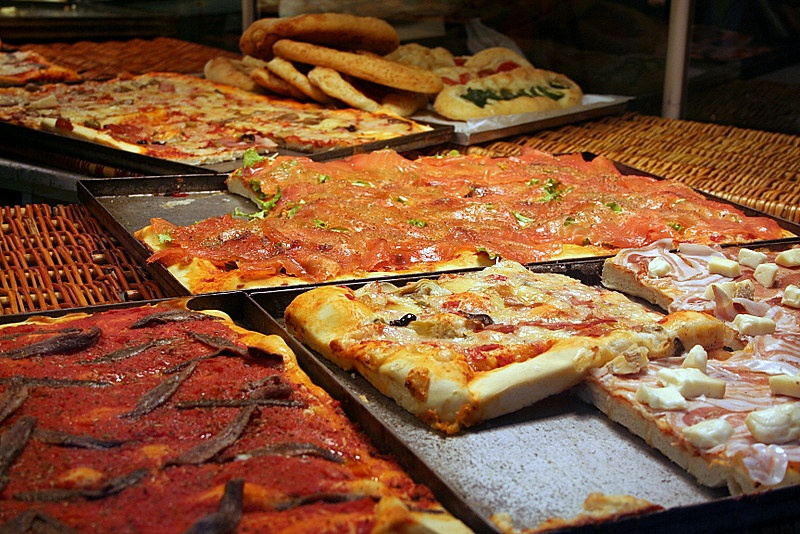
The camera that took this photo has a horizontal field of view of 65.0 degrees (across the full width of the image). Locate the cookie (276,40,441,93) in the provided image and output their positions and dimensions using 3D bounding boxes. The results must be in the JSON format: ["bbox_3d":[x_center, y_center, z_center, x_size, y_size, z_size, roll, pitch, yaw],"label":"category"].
[{"bbox_3d":[-0.263,-1.211,3.927,0.896,0.075,0.452,8,4,8],"label":"cookie"}]

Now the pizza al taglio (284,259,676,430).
[{"bbox_3d":[0.140,0.168,1.640,0.689,0.076,0.594,-12,17,-36],"label":"pizza al taglio"}]

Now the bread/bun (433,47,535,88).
[{"bbox_3d":[0.465,-1.372,4.436,0.761,0.144,0.507,-9,11,-17],"label":"bread/bun"}]

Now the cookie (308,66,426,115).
[{"bbox_3d":[-0.237,-1.079,3.931,0.697,0.093,0.412,12,-2,-6],"label":"cookie"}]
